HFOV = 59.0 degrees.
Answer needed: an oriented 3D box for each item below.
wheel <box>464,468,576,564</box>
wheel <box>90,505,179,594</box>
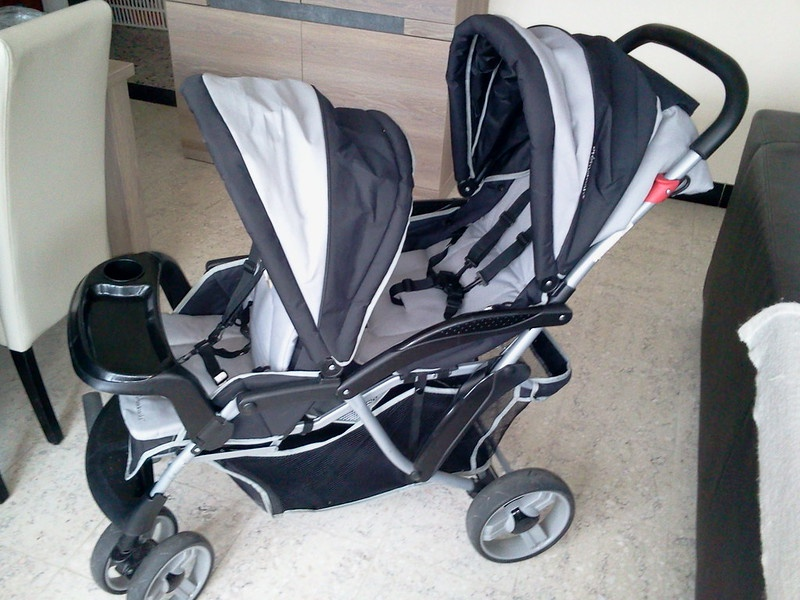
[{"bbox_3d":[0.364,0.653,2.132,0.344,0.345,0.094,-29,34,-6],"label":"wheel"},{"bbox_3d":[-0.779,0.722,2.019,0.091,0.260,0.263,32,12,0],"label":"wheel"}]
